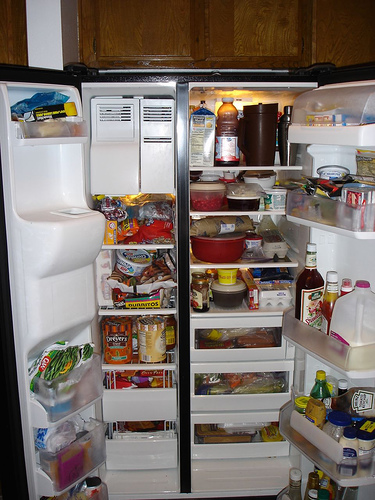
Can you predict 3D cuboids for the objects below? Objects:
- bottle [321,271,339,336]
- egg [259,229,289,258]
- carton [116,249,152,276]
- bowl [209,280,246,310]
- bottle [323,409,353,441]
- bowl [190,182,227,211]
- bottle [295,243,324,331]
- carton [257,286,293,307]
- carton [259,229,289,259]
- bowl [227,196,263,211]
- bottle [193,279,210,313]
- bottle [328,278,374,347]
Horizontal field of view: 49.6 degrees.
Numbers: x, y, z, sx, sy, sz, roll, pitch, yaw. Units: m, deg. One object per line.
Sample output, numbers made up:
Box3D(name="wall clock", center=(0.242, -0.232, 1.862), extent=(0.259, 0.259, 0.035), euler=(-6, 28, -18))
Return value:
Box3D(name="bottle", center=(0.403, 0.162, 1.236), extent=(0.056, 0.191, 0.059), euler=(3, 20, -1))
Box3D(name="egg", center=(0.384, -0.033, 1.851), extent=(0.083, 0.050, 0.141), euler=(0, 24, 1))
Box3D(name="carton", center=(-0.246, 0.035, 1.794), extent=(0.133, 0.116, 0.123), euler=(12, 24, 33))
Box3D(name="bowl", center=(0.167, 0.197, 1.745), extent=(0.129, 0.077, 0.129), euler=(-2, 13, 0))
Box3D(name="bottle", center=(0.425, 0.494, 1.149), extent=(0.050, 0.068, 0.072), euler=(3, 11, -6))
Box3D(name="bowl", center=(0.084, -0.216, 1.621), extent=(0.121, 0.082, 0.117), euler=(-1, 17, 0))
Box3D(name="bottle", center=(0.379, 0.114, 1.252), extent=(0.086, 0.276, 0.102), euler=(2, 13, 15))
Box3D(name="carton", center=(0.376, 0.199, 1.754), extent=(0.129, 0.065, 0.085), euler=(0, 15, -1))
Box3D(name="carton", center=(0.384, -0.033, 1.850), extent=(0.080, 0.052, 0.145), euler=(0, 24, 1))
Box3D(name="bowl", center=(0.228, -0.197, 1.649), extent=(0.085, 0.030, 0.075), euler=(5, 18, 23))
Box3D(name="bottle", center=(0.060, 0.186, 1.727), extent=(0.084, 0.144, 0.082), euler=(-3, 1, 0))
Box3D(name="bottle", center=(0.423, 0.162, 1.048), extent=(0.105, 0.159, 0.132), euler=(-1, 12, 1))
